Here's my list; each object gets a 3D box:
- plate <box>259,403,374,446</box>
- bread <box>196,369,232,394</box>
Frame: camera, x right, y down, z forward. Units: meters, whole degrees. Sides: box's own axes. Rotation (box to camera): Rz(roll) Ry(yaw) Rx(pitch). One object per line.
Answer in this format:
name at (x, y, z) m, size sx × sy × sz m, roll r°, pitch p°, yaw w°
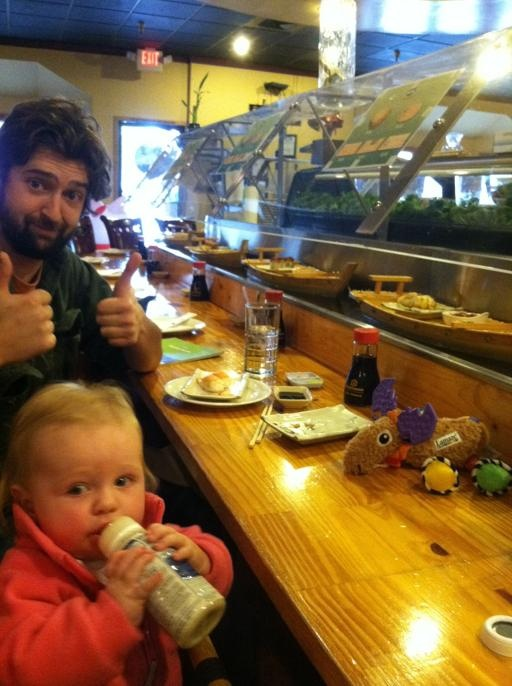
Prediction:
plate at (0.142, 0.185, 1.194) m, size 0.142 × 0.027 × 0.101 m, roll -7°, pitch 16°, yaw -28°
bread at (-0.112, 0.103, 1.414) m, size 0.060 × 0.023 × 0.078 m, roll -1°, pitch 11°, yaw -17°
